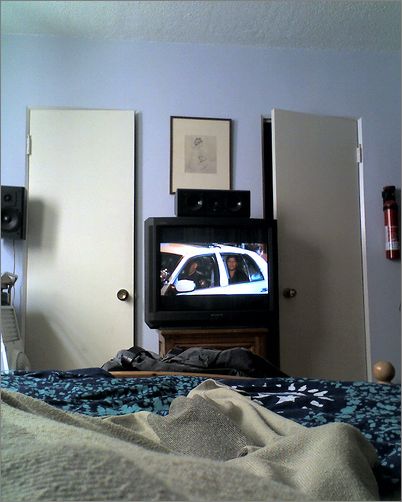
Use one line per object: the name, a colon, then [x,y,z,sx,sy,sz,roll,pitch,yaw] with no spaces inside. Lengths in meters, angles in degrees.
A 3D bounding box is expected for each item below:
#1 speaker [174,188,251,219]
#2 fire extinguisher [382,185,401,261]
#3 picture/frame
speaker: [0.080,-0.299,2.768,0.455,0.172,0.048,0,-1,0]
fire extinguisher: [1.413,-0.220,3.300,0.112,0.538,0.080,0,-1,21]
picture/frame: [-0.018,-0.681,3.162,0.672,0.734,0.059,1,-3,-11]
